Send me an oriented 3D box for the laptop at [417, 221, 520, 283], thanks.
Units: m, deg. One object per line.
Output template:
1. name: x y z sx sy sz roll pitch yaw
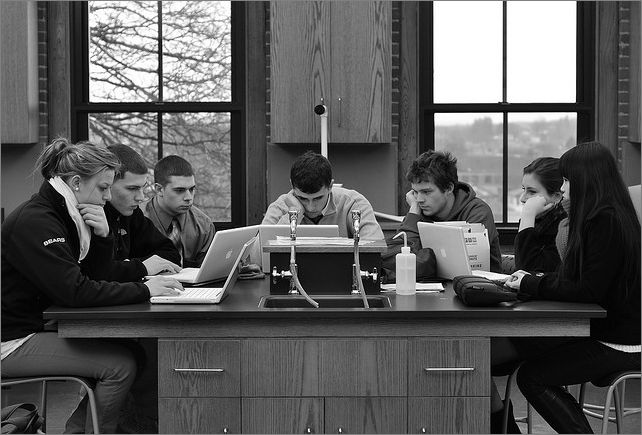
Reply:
1. laptop: 0.791 0.106 4.177 0.325 0.277 0.459 -2 2 -26

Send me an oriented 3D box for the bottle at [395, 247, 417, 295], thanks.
1. bottle: 0.431 0.261 3.903 0.099 0.242 0.125 0 5 5

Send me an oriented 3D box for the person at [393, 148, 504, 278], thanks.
1. person: 0.767 0.104 4.763 0.675 0.944 0.537 -7 6 -32

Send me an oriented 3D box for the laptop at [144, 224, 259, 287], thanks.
1. laptop: -0.610 0.197 4.127 0.345 0.230 0.386 0 1 14

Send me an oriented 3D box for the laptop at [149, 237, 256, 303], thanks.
1. laptop: -0.581 0.256 3.775 0.321 0.205 0.343 1 -5 4
